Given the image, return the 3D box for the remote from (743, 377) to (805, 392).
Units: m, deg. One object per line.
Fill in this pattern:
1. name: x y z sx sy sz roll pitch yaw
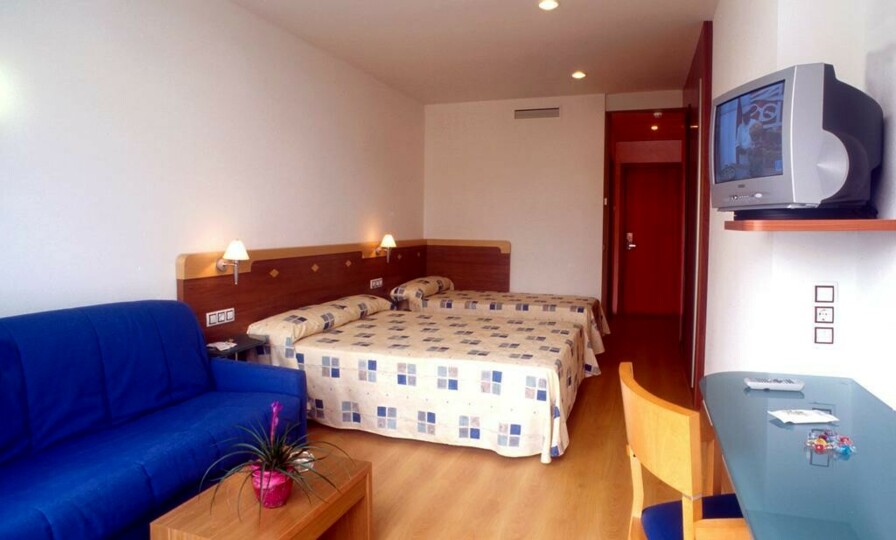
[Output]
1. remote: 1.845 0.650 3.253 0.198 0.035 0.122 -1 1 25

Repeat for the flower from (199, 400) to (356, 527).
1. flower: -1.047 1.125 3.530 0.867 0.472 0.848 -2 12 -36

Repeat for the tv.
1. tv: 1.956 -0.723 3.444 0.841 0.721 0.831 -4 5 -15

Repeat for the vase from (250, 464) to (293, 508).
1. vase: -0.976 1.226 3.285 0.228 0.224 0.252 -3 -3 23

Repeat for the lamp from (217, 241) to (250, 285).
1. lamp: -1.805 -0.066 4.820 0.252 0.367 0.345 -5 6 -18

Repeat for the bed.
1. bed: -0.168 0.823 4.781 1.771 0.468 1.829 3 11 19
